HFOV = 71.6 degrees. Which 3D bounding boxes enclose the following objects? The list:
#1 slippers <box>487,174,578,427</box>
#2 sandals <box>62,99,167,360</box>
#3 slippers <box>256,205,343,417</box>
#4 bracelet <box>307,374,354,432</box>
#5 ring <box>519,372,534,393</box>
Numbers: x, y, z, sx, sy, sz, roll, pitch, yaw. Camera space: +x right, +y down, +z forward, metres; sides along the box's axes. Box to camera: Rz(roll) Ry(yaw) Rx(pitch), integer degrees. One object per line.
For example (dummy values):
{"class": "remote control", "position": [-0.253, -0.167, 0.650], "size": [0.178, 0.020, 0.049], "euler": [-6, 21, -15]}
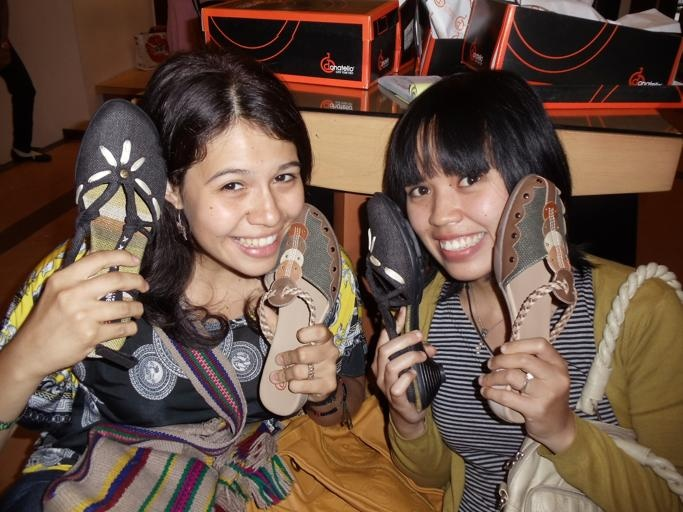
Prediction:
{"class": "slippers", "position": [0.433, 0.105, 1.107], "size": [0.210, 0.567, 0.158], "euler": [3, 8, -25]}
{"class": "sandals", "position": [-0.558, -0.050, 1.208], "size": [0.232, 0.633, 0.177], "euler": [6, 12, -11]}
{"class": "slippers", "position": [-0.101, 0.134, 1.235], "size": [0.199, 0.518, 0.143], "euler": [6, 5, 25]}
{"class": "bracelet", "position": [-0.029, 0.413, 1.336], "size": [0.070, 0.187, 0.074], "euler": [-15, 9, -42]}
{"class": "ring", "position": [0.380, 0.261, 0.973], "size": [0.018, 0.036, 0.041], "euler": [27, 19, 17]}
